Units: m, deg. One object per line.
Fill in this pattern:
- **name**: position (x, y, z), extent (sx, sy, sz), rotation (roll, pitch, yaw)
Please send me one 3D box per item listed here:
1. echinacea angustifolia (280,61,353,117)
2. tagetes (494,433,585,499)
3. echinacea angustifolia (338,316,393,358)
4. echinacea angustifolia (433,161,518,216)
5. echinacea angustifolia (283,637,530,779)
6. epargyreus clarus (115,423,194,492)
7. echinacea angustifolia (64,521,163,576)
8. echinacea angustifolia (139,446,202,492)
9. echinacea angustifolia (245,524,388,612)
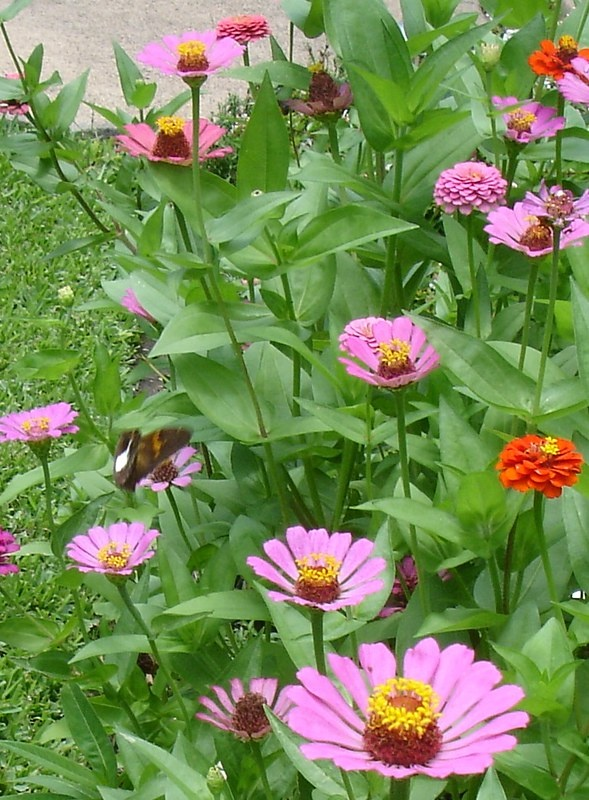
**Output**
- **echinacea angustifolia**: position (0.043, -0.655, 1.632), extent (0.135, 0.081, 0.191), rotation (-7, 32, -4)
- **tagetes**: position (0.258, 0.082, 0.813), extent (0.076, 0.047, 0.075), rotation (-35, 48, -21)
- **echinacea angustifolia**: position (0.091, -0.093, 1.047), extent (0.067, 0.030, 0.062), rotation (-15, 32, -10)
- **echinacea angustifolia**: position (0.297, -0.362, 1.276), extent (0.127, 0.049, 0.114), rotation (-3, 39, 6)
- **echinacea angustifolia**: position (0.080, 0.232, 0.550), extent (0.164, 0.047, 0.148), rotation (-4, 13, 6)
- **epargyreus clarus**: position (-0.223, 0.099, 1.251), extent (0.061, 0.111, 0.113), rotation (12, 24, -38)
- **echinacea angustifolia**: position (-0.263, 0.229, 1.109), extent (0.124, 0.040, 0.118), rotation (2, 14, -13)
- **echinacea angustifolia**: position (-0.246, 0.116, 1.541), extent (0.109, 0.047, 0.105), rotation (-28, 11, 12)
- **echinacea angustifolia**: position (0.024, 0.170, 0.734), extent (0.109, 0.035, 0.104), rotation (-9, 29, -10)
